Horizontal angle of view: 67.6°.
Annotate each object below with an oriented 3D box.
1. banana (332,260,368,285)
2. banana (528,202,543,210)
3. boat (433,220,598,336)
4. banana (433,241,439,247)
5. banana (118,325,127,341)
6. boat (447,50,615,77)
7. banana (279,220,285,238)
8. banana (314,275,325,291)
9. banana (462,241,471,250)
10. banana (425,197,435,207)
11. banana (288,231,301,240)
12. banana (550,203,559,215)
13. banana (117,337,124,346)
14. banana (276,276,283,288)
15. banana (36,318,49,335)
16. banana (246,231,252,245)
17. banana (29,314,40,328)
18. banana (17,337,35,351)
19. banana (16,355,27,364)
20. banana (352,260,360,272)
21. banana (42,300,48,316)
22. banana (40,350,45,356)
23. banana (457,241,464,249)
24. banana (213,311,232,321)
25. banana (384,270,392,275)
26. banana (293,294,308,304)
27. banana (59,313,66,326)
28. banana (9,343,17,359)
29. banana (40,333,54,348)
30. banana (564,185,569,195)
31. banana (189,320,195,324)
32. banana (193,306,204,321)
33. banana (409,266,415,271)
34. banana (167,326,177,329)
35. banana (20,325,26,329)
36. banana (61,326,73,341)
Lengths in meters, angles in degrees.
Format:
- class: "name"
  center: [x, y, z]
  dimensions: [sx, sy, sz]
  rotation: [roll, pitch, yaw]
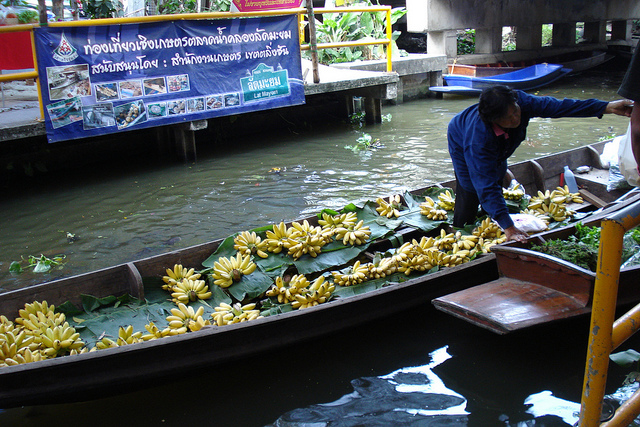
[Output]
- class: "banana"
  center: [0.330, 0.618, 5.059]
  dimensions: [0.238, 0.074, 0.228]
  rotation: [-21, 11, -18]
- class: "banana"
  center: [2.715, -0.102, 6.063]
  dimensions: [0.210, 0.069, 0.060]
  rotation: [-16, 51, 0]
- class: "boat"
  center: [2.241, 0.630, 4.628]
  dimensions: [2.258, 0.558, 1.050]
  rotation: [-7, 13, -29]
- class: "banana"
  center: [1.303, 0.341, 5.395]
  dimensions: [0.030, 0.090, 0.035]
  rotation: [33, 8, 34]
- class: "banana"
  center: [-1.833, 1.094, 4.431]
  dimensions: [0.050, 0.162, 0.060]
  rotation: [3, 18, -1]
- class: "boat"
  center: [7.501, -5.451, 17.309]
  dimensions: [6.531, 0.685, 1.393]
  rotation: [-10, 40, -13]
- class: "banana"
  center: [-0.439, 0.152, 5.471]
  dimensions: [0.052, 0.157, 0.055]
  rotation: [-10, -6, 34]
- class: "banana"
  center: [-0.011, 0.715, 4.984]
  dimensions: [0.049, 0.053, 0.172]
  rotation: [17, 59, 28]
- class: "banana"
  center: [1.636, 0.353, 5.355]
  dimensions: [0.044, 0.127, 0.040]
  rotation: [-54, -4, -29]
- class: "banana"
  center: [1.389, -0.158, 6.077]
  dimensions: [0.056, 0.045, 0.199]
  rotation: [5, 25, -21]
- class: "banana"
  center: [-0.288, 0.239, 5.440]
  dimensions: [0.178, 0.046, 0.056]
  rotation: [-26, 25, 5]
- class: "banana"
  center: [2.906, -0.063, 5.935]
  dimensions: [0.158, 0.048, 0.057]
  rotation: [-56, 21, -15]
- class: "banana"
  center: [-1.859, 1.177, 4.439]
  dimensions: [0.060, 0.076, 0.025]
  rotation: [4, -7, 22]
- class: "banana"
  center: [-0.426, 0.707, 4.986]
  dimensions: [0.071, 0.091, 0.030]
  rotation: [-4, -11, 36]
- class: "banana"
  center: [-2.619, 1.063, 4.517]
  dimensions: [0.197, 0.062, 0.050]
  rotation: [44, 24, 26]
- class: "banana"
  center: [-0.814, 0.271, 5.433]
  dimensions: [0.037, 0.147, 0.041]
  rotation: [-14, -9, -40]
- class: "banana"
  center: [-2.721, 1.018, 4.544]
  dimensions: [0.035, 0.123, 0.040]
  rotation: [-34, 0, -9]
- class: "banana"
  center: [-2.702, 1.183, 4.384]
  dimensions: [0.175, 0.044, 0.055]
  rotation: [-38, 5, -19]
- class: "banana"
  center: [-2.611, 1.269, 4.182]
  dimensions: [0.054, 0.050, 0.182]
  rotation: [-15, 16, -21]
- class: "banana"
  center: [0.386, 0.566, 5.200]
  dimensions: [0.039, 0.142, 0.029]
  rotation: [29, -18, 11]
- class: "banana"
  center: [-2.681, 0.927, 4.678]
  dimensions: [0.044, 0.130, 0.041]
  rotation: [7, -4, 3]
- class: "banana"
  center: [-2.519, 1.262, 4.335]
  dimensions: [0.051, 0.044, 0.024]
  rotation: [0, 0, -27]
- class: "banana"
  center: [1.583, 0.343, 5.373]
  dimensions: [0.046, 0.074, 0.026]
  rotation: [6, -5, -9]
- class: "banana"
  center: [-0.960, 0.998, 4.744]
  dimensions: [0.238, 0.068, 0.062]
  rotation: [-10, 15, -35]
- class: "banana"
  center: [0.721, 0.624, 5.110]
  dimensions: [0.047, 0.023, 0.044]
  rotation: [-12, 28, -13]
- class: "banana"
  center: [-0.201, 0.851, 4.843]
  dimensions: [0.163, 0.050, 0.053]
  rotation: [32, 29, 9]
- class: "banana"
  center: [-2.490, 1.017, 4.611]
  dimensions: [0.032, 0.096, 0.052]
  rotation: [6, 4, 29]
- class: "banana"
  center: [-2.745, 1.218, 4.264]
  dimensions: [0.043, 0.139, 0.047]
  rotation: [12, 4, 3]
- class: "banana"
  center: [-2.505, 1.164, 4.384]
  dimensions: [0.041, 0.150, 0.050]
  rotation: [-45, -17, -7]
- class: "banana"
  center: [3.343, -0.327, 6.492]
  dimensions: [0.054, 0.045, 0.220]
  rotation: [-12, 23, 16]
- class: "banana"
  center: [-1.240, 1.040, 4.615]
  dimensions: [0.033, 0.008, 0.029]
  rotation: [8, 21, 23]
- class: "banana"
  center: [-1.196, 0.977, 4.707]
  dimensions: [0.035, 0.118, 0.067]
  rotation: [26, -15, 38]
- class: "banana"
  center: [0.974, 0.577, 5.099]
  dimensions: [0.044, 0.026, 0.049]
  rotation: [18, 38, 14]
- class: "banana"
  center: [-1.440, 1.095, 4.612]
  dimensions: [0.103, 0.025, 0.018]
  rotation: [6, 5, 42]
- class: "banana"
  center: [-2.834, 1.078, 4.566]
  dimensions: [0.012, 0.018, 0.078]
  rotation: [0, 15, 14]
- class: "banana"
  center: [-2.355, 1.111, 4.435]
  dimensions: [0.037, 0.131, 0.043]
  rotation: [35, -16, -18]
